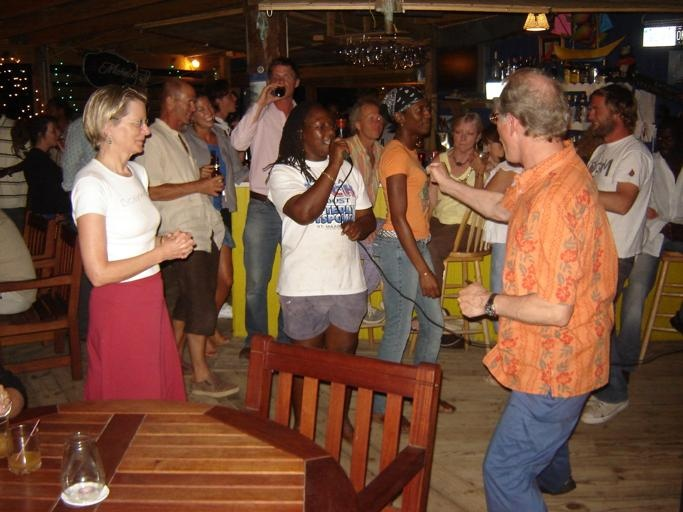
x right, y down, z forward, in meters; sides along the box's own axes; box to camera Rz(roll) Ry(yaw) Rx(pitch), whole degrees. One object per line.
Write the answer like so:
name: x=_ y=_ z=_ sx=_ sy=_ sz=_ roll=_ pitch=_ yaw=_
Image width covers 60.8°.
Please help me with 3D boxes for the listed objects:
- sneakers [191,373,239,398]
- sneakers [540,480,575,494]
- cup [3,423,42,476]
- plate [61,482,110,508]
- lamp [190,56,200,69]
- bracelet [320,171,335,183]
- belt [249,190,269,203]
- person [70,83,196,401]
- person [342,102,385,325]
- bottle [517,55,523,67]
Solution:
sneakers: x=-0.991 y=1.014 z=4.588 sx=0.342 sy=0.138 sz=0.166 roll=1 pitch=1 yaw=-2
sneakers: x=1.278 y=1.362 z=3.413 sx=0.170 sy=0.064 sz=0.122 roll=2 pitch=-5 yaw=-23
cup: x=-1.169 y=0.706 z=2.159 sx=0.180 sy=0.155 sz=0.106 roll=-5 pitch=9 yaw=-41
plate: x=-0.874 y=0.798 z=1.979 sx=0.097 sy=0.022 sz=0.095 roll=1 pitch=9 yaw=-20
lamp: x=-3.530 y=-4.645 z=14.062 sx=0.217 sy=0.207 sz=0.104 roll=-8 pitch=9 yaw=-16
bracelet: x=-0.072 y=-0.434 z=3.218 sx=0.074 sy=0.061 sz=0.037 roll=-1 pitch=13 yaw=-4
belt: x=-0.671 y=-0.479 z=4.753 sx=0.140 sy=0.036 sz=0.139 roll=8 pitch=0 yaw=8
person: x=-1.101 y=0.000 z=3.048 sx=0.578 sy=1.739 sz=0.690 roll=-11 pitch=16 yaw=-37
person: x=0.168 y=-0.112 z=4.371 sx=0.335 sy=1.028 sz=0.279 roll=-6 pitch=22 yaw=-13
bottle: x=2.992 y=-3.221 z=9.686 sx=0.083 sy=0.171 sz=0.288 roll=3 pitch=13 yaw=14
